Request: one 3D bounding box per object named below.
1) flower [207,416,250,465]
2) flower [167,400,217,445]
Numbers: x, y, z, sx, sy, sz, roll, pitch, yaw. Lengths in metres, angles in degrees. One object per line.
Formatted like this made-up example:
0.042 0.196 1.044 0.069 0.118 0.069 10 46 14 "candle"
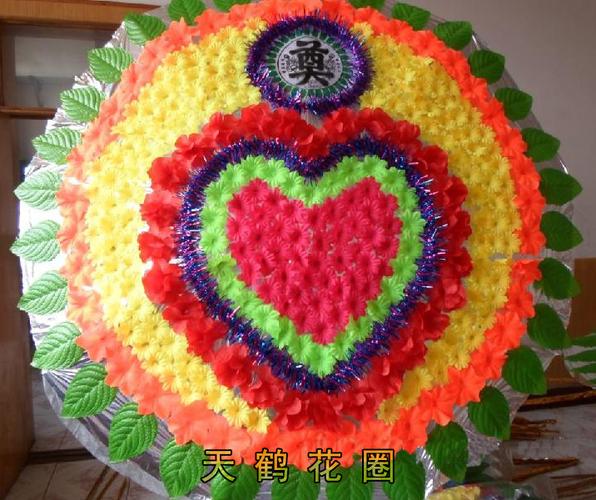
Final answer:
-0.199 0.550 1.859 0.157 0.092 0.091 13 -40 0 "flower"
-0.313 0.501 1.855 0.141 0.095 0.109 25 -41 -14 "flower"
